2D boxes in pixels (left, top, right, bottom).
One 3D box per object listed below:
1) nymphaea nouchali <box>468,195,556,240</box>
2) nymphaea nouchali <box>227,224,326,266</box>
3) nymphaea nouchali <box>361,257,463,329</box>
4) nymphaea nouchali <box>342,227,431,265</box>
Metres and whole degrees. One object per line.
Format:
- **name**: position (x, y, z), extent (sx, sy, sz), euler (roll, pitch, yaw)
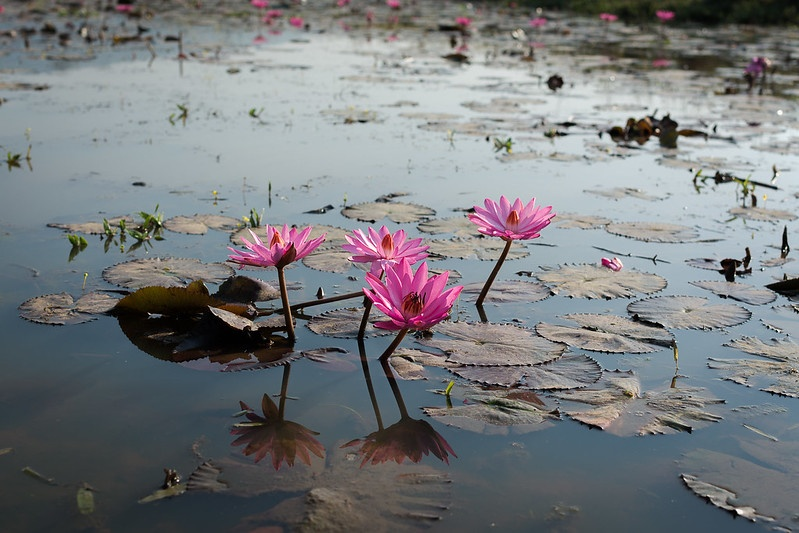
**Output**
- **nymphaea nouchali**: position (0.793, -0.315, 5.490), extent (0.626, 0.203, 0.547), euler (15, -10, -15)
- **nymphaea nouchali**: position (-0.773, -0.095, 5.063), extent (0.586, 0.202, 0.414), euler (-9, -3, -21)
- **nymphaea nouchali**: position (0.058, 0.227, 4.683), extent (0.537, 0.208, 0.493), euler (-21, 46, -26)
- **nymphaea nouchali**: position (-0.066, -0.137, 5.122), extent (0.602, 0.159, 0.580), euler (-1, -15, 37)
